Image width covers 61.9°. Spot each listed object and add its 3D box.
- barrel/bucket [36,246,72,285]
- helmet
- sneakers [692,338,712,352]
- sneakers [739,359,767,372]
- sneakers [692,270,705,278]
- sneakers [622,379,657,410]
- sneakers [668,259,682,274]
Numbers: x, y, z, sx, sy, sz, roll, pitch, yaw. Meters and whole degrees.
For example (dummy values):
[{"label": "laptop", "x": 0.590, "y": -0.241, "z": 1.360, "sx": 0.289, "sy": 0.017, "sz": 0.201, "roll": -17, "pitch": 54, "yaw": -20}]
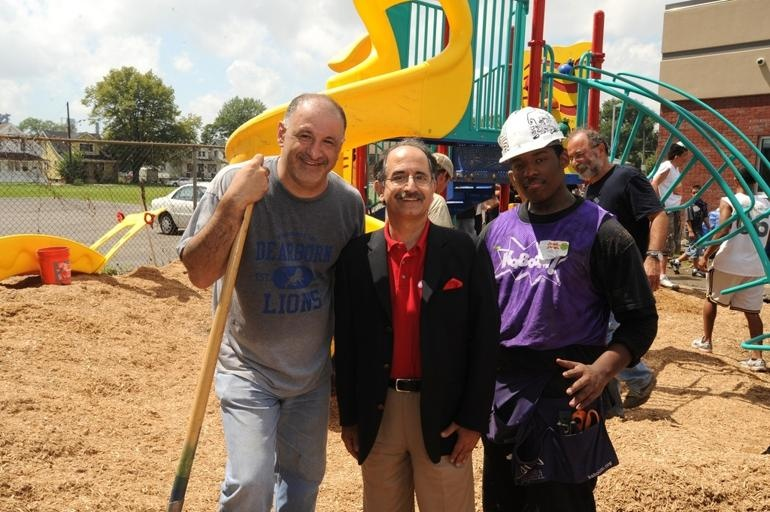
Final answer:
[{"label": "barrel/bucket", "x": -5.036, "y": 0.162, "z": 9.564, "sx": 0.419, "sy": 0.522, "sz": 0.411, "roll": -1, "pitch": 14, "yaw": 0}, {"label": "helmet", "x": 1.121, "y": -0.918, "z": 4.933, "sx": 0.364, "sy": 0.278, "sz": 0.487, "roll": -19, "pitch": 6, "yaw": 31}, {"label": "sneakers", "x": 4.436, "y": 1.225, "z": 8.839, "sx": 0.105, "sy": 0.127, "sz": 0.267, "roll": -3, "pitch": 7, "yaw": -6}, {"label": "sneakers", "x": 4.831, "y": 1.395, "z": 8.334, "sx": 0.134, "sy": 0.155, "sz": 0.325, "roll": 1, "pitch": 3, "yaw": -26}, {"label": "sneakers", "x": 6.462, "y": 0.367, "z": 13.000, "sx": 0.139, "sy": 0.144, "sz": 0.325, "roll": -10, "pitch": 8, "yaw": -26}, {"label": "sneakers", "x": 2.940, "y": 1.570, "z": 7.312, "sx": 0.154, "sy": 0.381, "sz": 0.135, "roll": 18, "pitch": 24, "yaw": -14}, {"label": "sneakers", "x": 6.504, "y": 0.254, "z": 14.183, "sx": 0.120, "sy": 0.294, "sz": 0.098, "roll": -8, "pitch": 31, "yaw": 30}]
